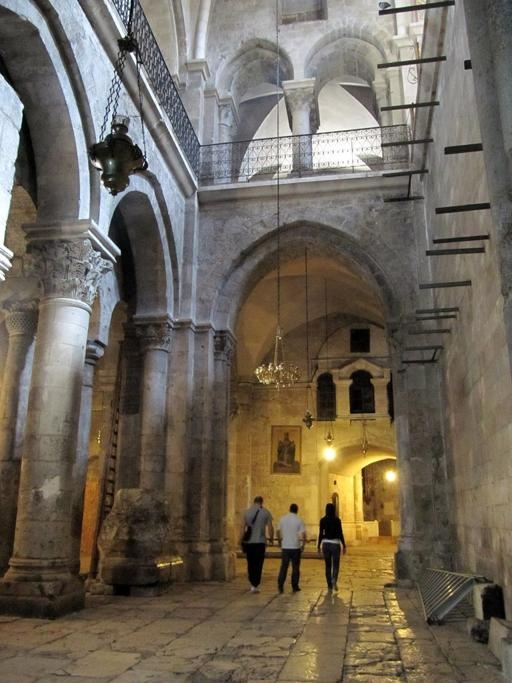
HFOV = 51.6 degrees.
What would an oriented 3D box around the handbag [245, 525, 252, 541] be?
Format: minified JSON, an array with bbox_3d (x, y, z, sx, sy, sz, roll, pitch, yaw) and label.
[{"bbox_3d":[-0.102,2.519,6.915,0.112,0.189,0.079,1,-17,0],"label":"handbag"}]
